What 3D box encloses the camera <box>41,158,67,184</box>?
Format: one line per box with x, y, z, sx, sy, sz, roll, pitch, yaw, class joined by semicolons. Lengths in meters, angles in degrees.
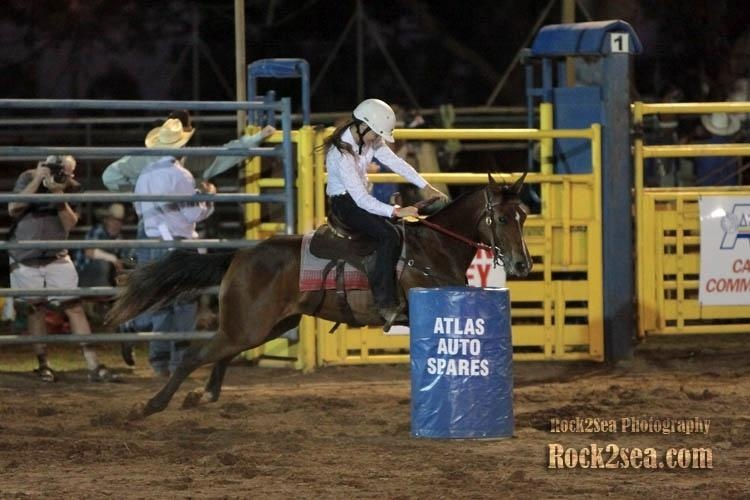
-4.017;-1.040;20.448;0.281;0.331;0.190;0;3;4;camera

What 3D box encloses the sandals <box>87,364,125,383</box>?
-3.474;1.565;21.026;0.442;0.245;0.184;1;4;-4;sandals

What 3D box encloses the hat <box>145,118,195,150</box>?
-2.640;-1.531;20.886;0.576;0.386;0.888;-1;3;-7;hat

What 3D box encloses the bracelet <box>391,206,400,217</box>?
0.240;-0.483;19.423;0.115;0.153;0.299;0;3;-1;bracelet

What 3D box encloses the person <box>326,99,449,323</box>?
-0.013;-0.475;19.542;1.168;2.703;0.601;0;2;-2;person

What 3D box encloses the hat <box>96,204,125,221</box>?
-3.671;-0.564;22.368;0.343;0.122;0.304;8;12;24;hat

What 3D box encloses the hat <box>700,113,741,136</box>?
5.367;-1.935;24.813;0.994;0.354;0.486;-3;4;-43;hat
